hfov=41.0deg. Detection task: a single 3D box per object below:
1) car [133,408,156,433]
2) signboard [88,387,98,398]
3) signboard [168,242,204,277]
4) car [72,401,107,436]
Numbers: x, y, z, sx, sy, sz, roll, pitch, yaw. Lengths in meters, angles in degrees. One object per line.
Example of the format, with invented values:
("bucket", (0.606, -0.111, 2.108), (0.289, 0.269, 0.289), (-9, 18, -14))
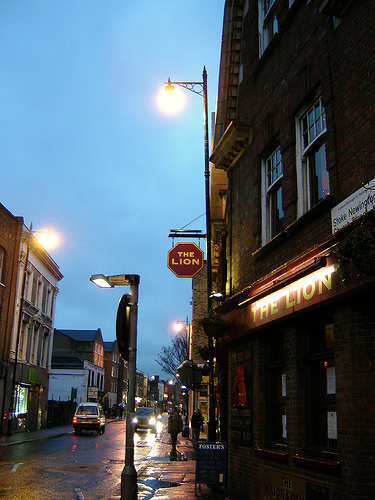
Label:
("car", (-3.086, 12.692, 37.310), (1.485, 1.879, 2.044), (2, -22, -6))
("signboard", (-12.269, 18.419, 64.684), (1.120, 2.018, 2.424), (-1, -14, -1))
("signboard", (-0.073, 0.295, 14.572), (0.724, 1.037, 0.145), (1, -19, 0))
("car", (-6.158, 10.832, 32.155), (1.419, 2.230, 3.430), (0, -14, 1))
